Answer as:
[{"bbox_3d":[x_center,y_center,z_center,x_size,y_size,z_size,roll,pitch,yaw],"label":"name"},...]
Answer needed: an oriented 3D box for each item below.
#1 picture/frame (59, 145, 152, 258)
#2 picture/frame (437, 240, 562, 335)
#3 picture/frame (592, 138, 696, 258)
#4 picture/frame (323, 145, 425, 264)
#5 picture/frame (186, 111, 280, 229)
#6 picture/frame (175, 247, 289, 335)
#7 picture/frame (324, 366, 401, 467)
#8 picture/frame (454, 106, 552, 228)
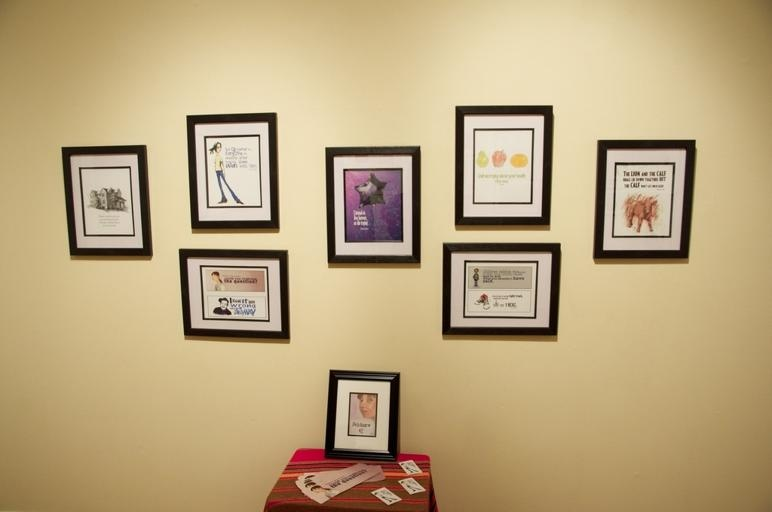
[{"bbox_3d":[-1.644,-0.338,3.465,0.653,0.831,0.061,-1,8,0],"label":"picture/frame"},{"bbox_3d":[0.673,0.164,3.368,0.529,0.443,0.041,2,4,-1],"label":"picture/frame"},{"bbox_3d":[1.475,-0.357,3.324,0.640,0.840,0.054,2,5,0],"label":"picture/frame"},{"bbox_3d":[-0.052,-0.317,3.364,0.680,0.798,0.044,0,7,4],"label":"picture/frame"},{"bbox_3d":[-0.873,-0.517,3.398,0.676,0.810,0.052,0,7,0],"label":"picture/frame"},{"bbox_3d":[-0.881,0.195,3.444,0.512,0.432,0.025,1,3,1],"label":"picture/frame"},{"bbox_3d":[-0.137,0.940,3.375,0.532,0.583,0.059,1,-6,2],"label":"picture/frame"},{"bbox_3d":[0.676,-0.531,3.326,0.664,0.771,0.056,0,5,3],"label":"picture/frame"}]
